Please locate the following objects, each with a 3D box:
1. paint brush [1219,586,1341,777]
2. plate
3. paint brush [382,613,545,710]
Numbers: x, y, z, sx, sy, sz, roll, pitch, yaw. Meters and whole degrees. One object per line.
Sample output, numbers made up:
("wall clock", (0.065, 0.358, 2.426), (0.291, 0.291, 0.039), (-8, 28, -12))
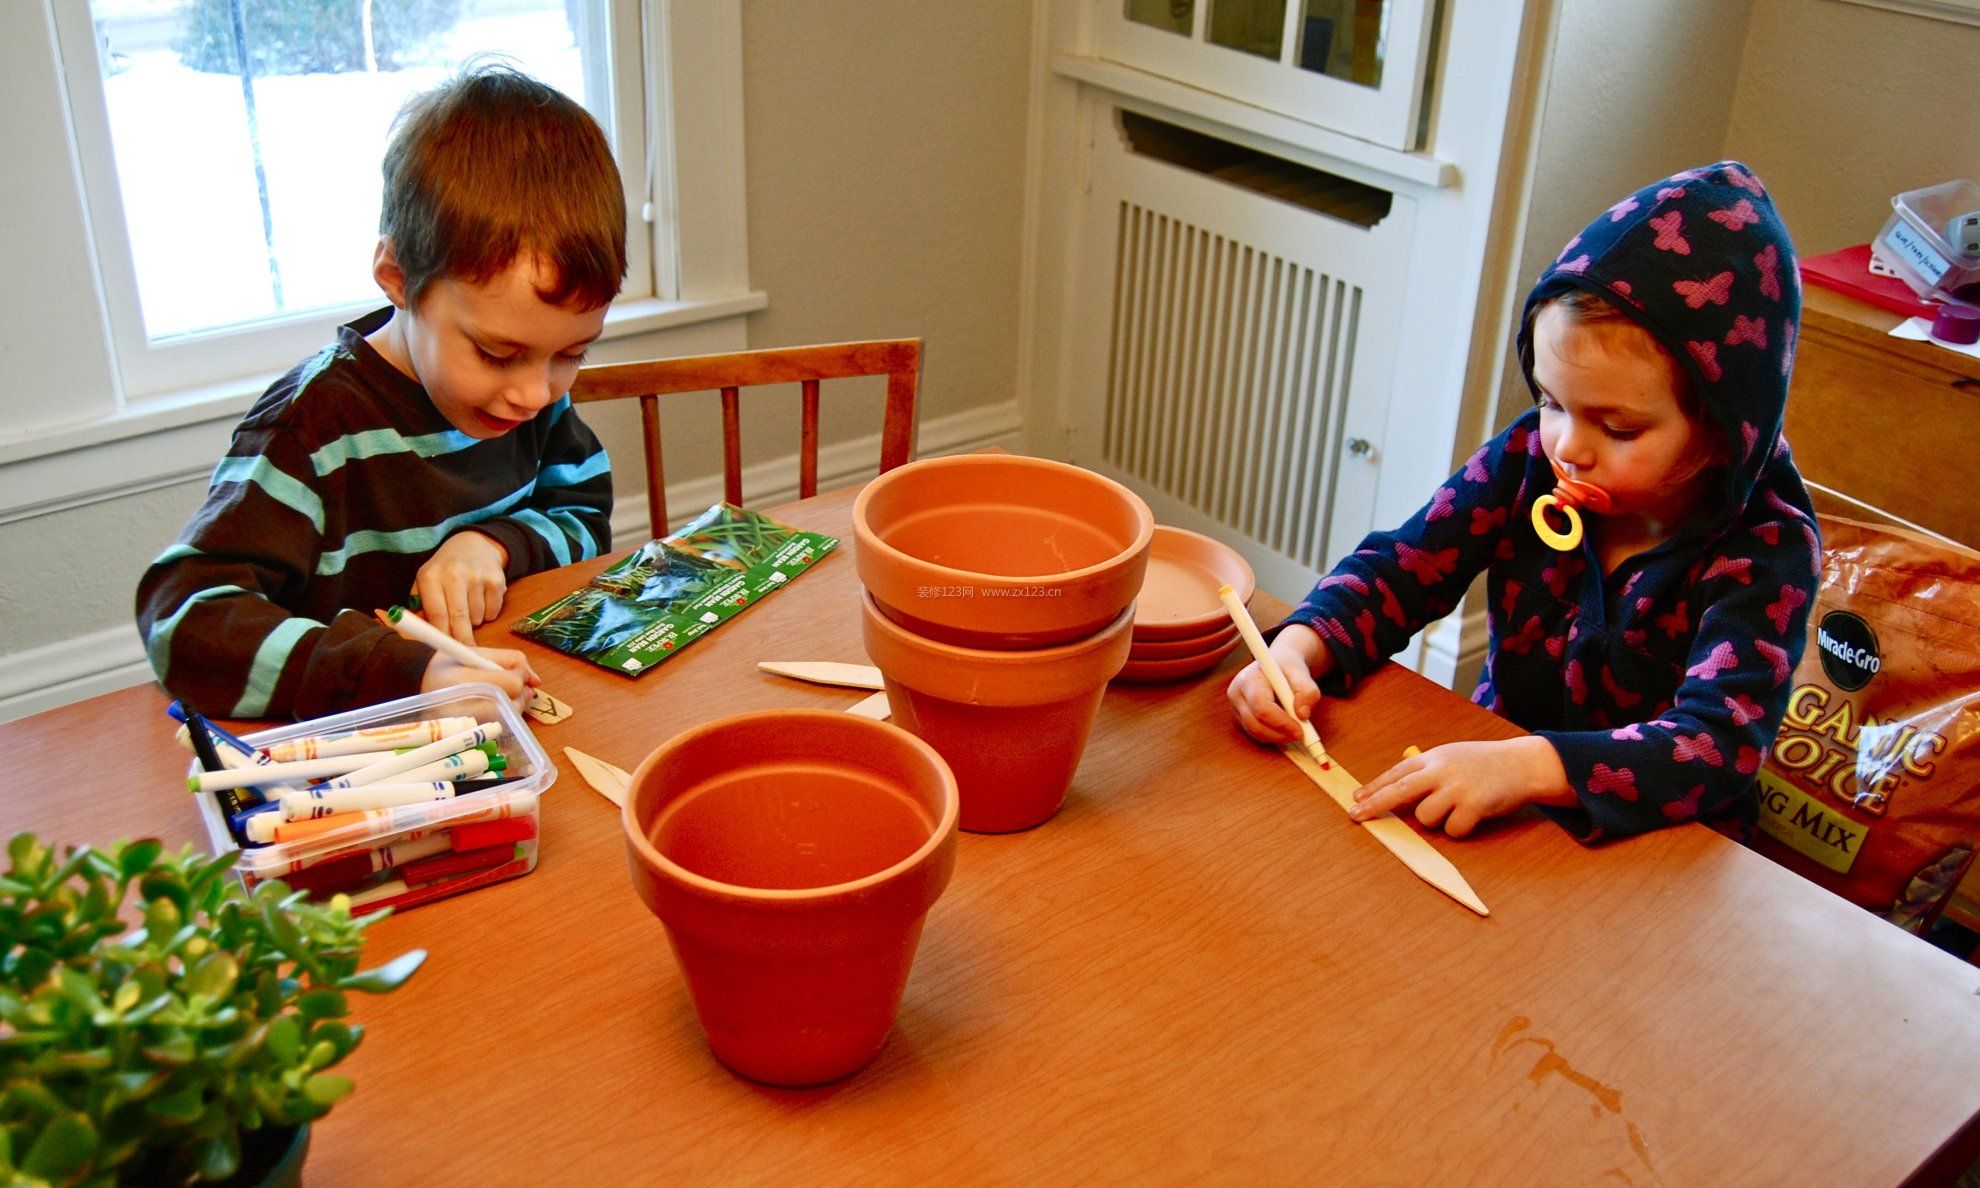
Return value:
("paint brush", (0.319, 0.104, 1.377), (0.027, 0.024, 0.218), (-21, 77, -29))
("plate", (0.222, 0.023, 1.444), (0.190, 0.071, 0.181), (3, 28, 5))
("paint brush", (-0.557, 0.075, 1.307), (0.162, 0.024, 0.023), (28, 23, 0))
